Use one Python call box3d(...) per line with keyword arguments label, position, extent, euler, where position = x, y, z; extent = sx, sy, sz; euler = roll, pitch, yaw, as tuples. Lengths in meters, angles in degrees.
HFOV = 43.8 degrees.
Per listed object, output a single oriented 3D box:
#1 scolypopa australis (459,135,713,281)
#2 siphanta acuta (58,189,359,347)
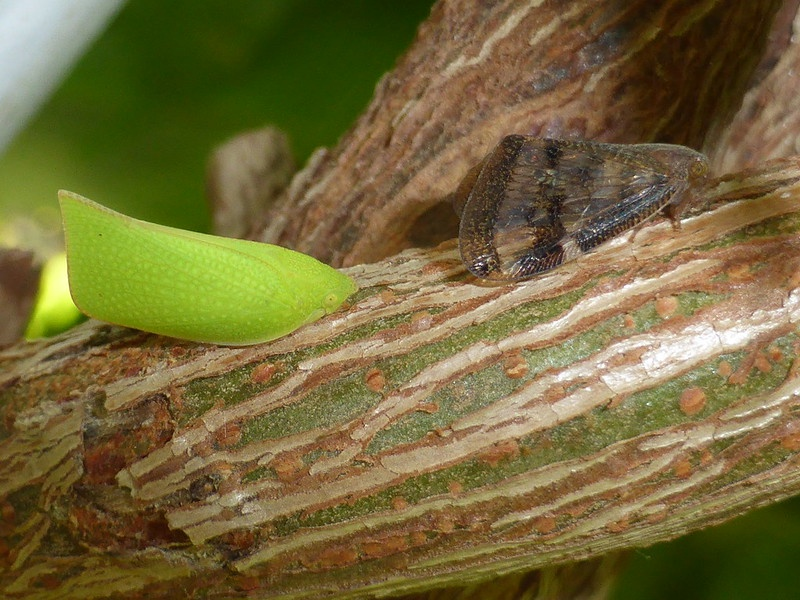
box3d(label="scolypopa australis", position=(0.418, -0.292, 2.307), extent=(0.618, 0.195, 0.463), euler=(-7, 45, -15))
box3d(label="siphanta acuta", position=(-0.415, -0.072, 2.249), extent=(0.653, 0.274, 0.207), euler=(1, 39, -21))
